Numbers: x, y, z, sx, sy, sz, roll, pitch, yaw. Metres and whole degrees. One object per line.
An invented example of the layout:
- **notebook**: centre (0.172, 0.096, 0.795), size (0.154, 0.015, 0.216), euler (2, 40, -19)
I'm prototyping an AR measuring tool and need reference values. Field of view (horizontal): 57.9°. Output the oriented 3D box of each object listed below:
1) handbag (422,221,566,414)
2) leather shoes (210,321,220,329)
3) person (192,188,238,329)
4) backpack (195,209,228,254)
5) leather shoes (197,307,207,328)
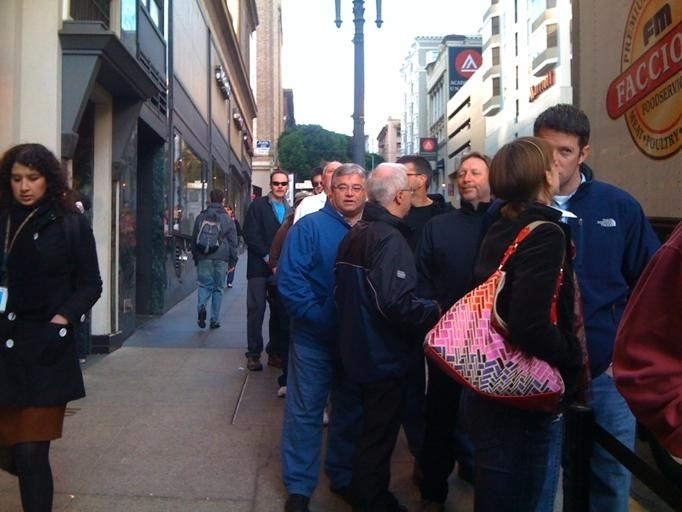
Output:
- **handbag**: centre (0.839, 0.254, 3.014), size (0.647, 0.965, 0.384), euler (17, -5, 23)
- **leather shoes**: centre (-2.068, 1.137, 10.114), size (0.061, 0.079, 0.176), euler (2, 5, 10)
- **person**: centre (-2.053, 0.033, 10.109), size (0.723, 2.305, 0.716), euler (3, -2, -32)
- **backpack**: centre (-2.200, -0.431, 10.161), size (0.446, 0.775, 0.759), euler (9, -7, -15)
- **leather shoes**: centre (-2.225, 0.971, 9.755), size (0.124, 0.409, 0.188), euler (1, 8, -15)
